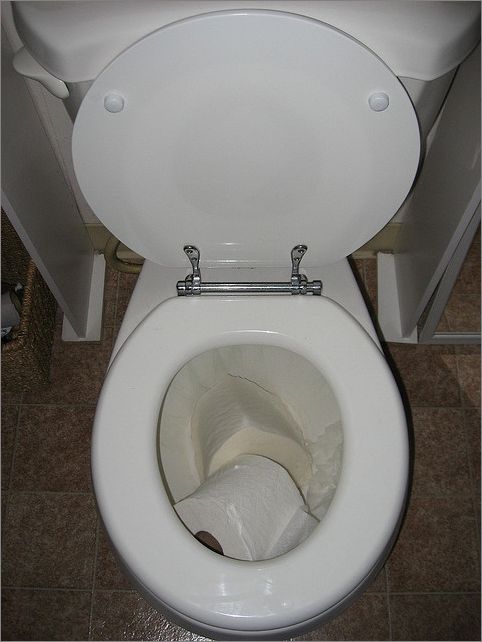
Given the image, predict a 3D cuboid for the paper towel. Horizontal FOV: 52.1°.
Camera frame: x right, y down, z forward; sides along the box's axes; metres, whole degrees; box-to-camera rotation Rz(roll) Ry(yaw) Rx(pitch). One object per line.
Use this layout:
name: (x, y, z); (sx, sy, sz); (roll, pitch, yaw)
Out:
paper towel: (0.015, 0.244, 0.689); (0.112, 0.134, 0.132); (8, 101, 4)
